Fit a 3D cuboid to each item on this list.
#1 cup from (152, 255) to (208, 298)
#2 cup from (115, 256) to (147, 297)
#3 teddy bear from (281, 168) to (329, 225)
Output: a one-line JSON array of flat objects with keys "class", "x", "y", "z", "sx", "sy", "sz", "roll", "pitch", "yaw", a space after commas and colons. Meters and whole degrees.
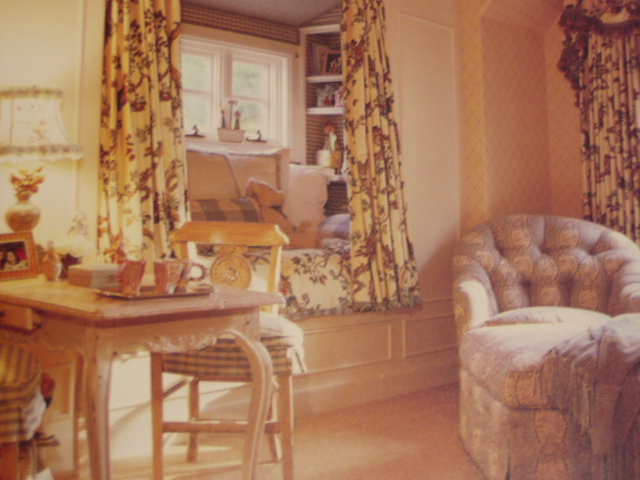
[{"class": "cup", "x": -0.571, "y": 0.153, "z": 2.447, "sx": 0.209, "sy": 0.127, "sz": 0.154, "roll": 2, "pitch": -2, "yaw": -23}, {"class": "cup", "x": -0.757, "y": 0.141, "z": 2.384, "sx": 0.109, "sy": 0.157, "sz": 0.106, "roll": 5, "pitch": 0, "yaw": 0}, {"class": "teddy bear", "x": -0.121, "y": -0.313, "z": 4.437, "sx": 0.433, "sy": 0.476, "sz": 0.195, "roll": 4, "pitch": -9, "yaw": -33}]
